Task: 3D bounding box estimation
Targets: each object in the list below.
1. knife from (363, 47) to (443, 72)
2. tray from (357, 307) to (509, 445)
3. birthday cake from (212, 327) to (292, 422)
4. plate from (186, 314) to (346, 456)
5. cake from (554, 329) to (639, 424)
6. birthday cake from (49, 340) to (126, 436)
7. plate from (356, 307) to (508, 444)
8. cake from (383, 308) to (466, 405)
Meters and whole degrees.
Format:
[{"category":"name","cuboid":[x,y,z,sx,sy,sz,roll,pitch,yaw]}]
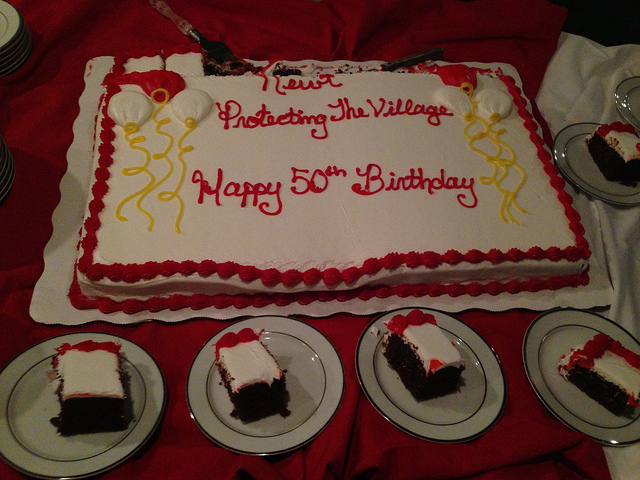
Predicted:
[{"category":"knife","cuboid":[0.904,-1.881,6.409,0.666,0.083,0.115,-26,19,-10]},{"category":"tray","cuboid":[0.815,1.012,4.528,0.906,0.342,0.956,31,59,13]},{"category":"birthday cake","cuboid":[-0.483,0.982,4.428,0.437,0.204,0.641,-11,58,-18]},{"category":"plate","cuboid":[-0.396,1.083,4.755,1.172,0.811,1.389,-10,40,-16]},{"category":"cake","cuboid":[2.113,1.094,4.781,0.524,0.243,0.531,40,65,21]},{"category":"birthday cake","cuboid":[-1.610,1.038,4.320,0.473,0.204,0.626,-2,59,-11]},{"category":"plate","cuboid":[0.840,1.079,4.594,0.754,1.018,1.054,-1,28,-10]},{"category":"cake","cuboid":[0.808,0.843,4.676,0.447,0.315,0.734,-3,26,-17]}]
